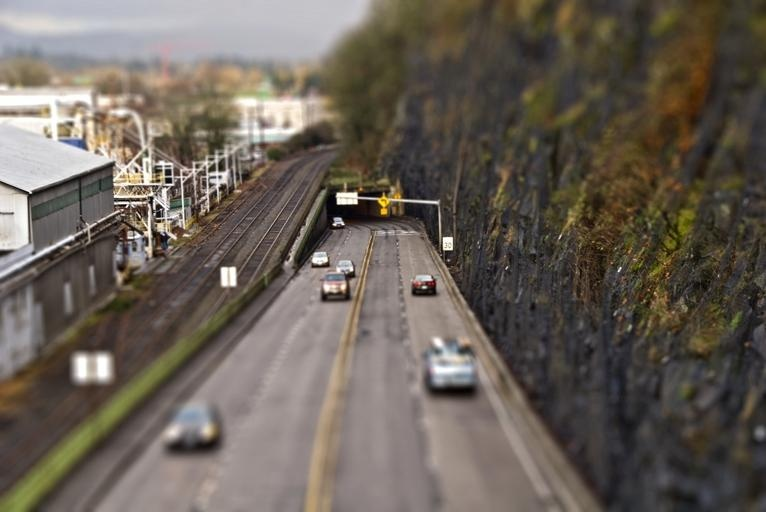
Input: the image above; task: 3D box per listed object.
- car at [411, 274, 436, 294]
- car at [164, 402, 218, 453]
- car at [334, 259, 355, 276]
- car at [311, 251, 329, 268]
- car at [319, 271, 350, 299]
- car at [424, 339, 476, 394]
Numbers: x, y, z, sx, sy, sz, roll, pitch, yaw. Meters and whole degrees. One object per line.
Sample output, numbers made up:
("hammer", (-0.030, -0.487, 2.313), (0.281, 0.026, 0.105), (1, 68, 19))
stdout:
("car", (2.976, 2.226, 57.228), (1.667, 1.313, 0.896), (0, 9, 10))
("car", (-7.065, 6.422, 29.034), (1.896, 1.101, 1.320), (-2, 9, -5))
("car", (-3.357, 1.001, 67.192), (1.150, 1.090, 2.110), (0, -1, 1))
("car", (-5.996, 0.373, 73.962), (1.149, 1.036, 2.809), (-2, 3, -2))
("car", (-3.505, 2.278, 55.856), (1.910, 1.656, 2.441), (5, 11, 36))
("car", (2.897, 4.727, 33.686), (2.001, 2.070, 2.059), (-2, 9, -7))
